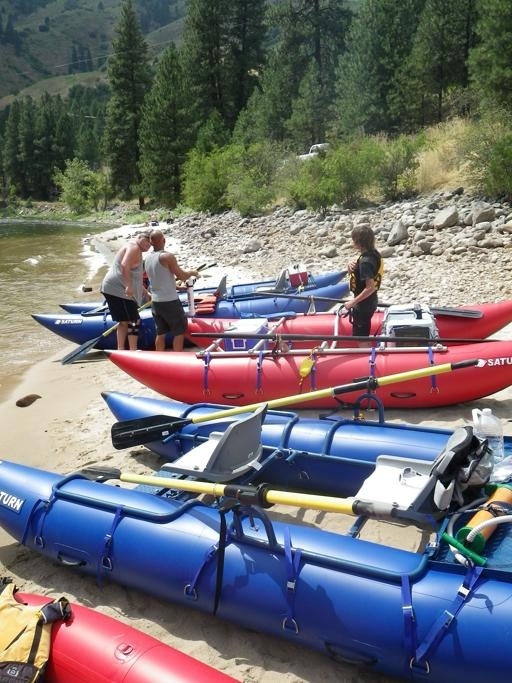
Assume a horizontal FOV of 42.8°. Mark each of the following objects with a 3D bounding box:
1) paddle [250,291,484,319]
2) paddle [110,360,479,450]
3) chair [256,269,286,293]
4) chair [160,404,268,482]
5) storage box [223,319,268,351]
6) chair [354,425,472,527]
[{"bbox_3d":[1.189,-0.416,7.462,1.895,0.176,0.191,10,52,26],"label":"paddle"},{"bbox_3d":[0.411,0.486,5.017,3.050,0.396,0.310,-8,6,3],"label":"paddle"},{"bbox_3d":[0.201,-0.792,8.675,0.258,0.158,0.451,-21,22,-38],"label":"chair"},{"bbox_3d":[-0.229,0.536,3.670,0.464,0.306,0.541,6,15,26],"label":"chair"},{"bbox_3d":[-0.116,-0.021,6.443,0.315,0.244,0.420,0,16,12],"label":"storage box"},{"bbox_3d":[0.786,0.652,3.231,0.663,0.452,0.599,-3,13,15],"label":"chair"}]
